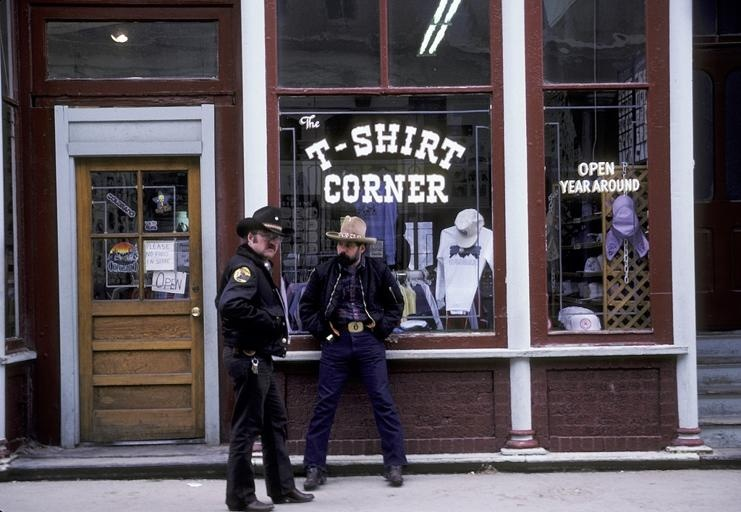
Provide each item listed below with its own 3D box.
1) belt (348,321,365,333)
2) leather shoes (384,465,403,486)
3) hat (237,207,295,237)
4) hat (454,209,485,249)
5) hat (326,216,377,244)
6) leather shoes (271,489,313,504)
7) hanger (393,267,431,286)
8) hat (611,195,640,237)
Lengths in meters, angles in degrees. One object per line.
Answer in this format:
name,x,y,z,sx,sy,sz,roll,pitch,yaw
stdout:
belt,-0.150,0.745,12.950,0.164,0.115,0.034,-2,-2,-11
leather shoes,0.234,2.274,12.896,0.205,0.207,0.201,-3,-2,5
hat,-1.023,-0.377,12.482,0.428,0.159,0.356,11,-17,-27
hat,1.055,-0.291,13.556,0.315,0.382,0.143,2,-4,16
hat,-0.161,-0.268,13.115,0.329,0.156,0.407,4,-11,7
leather shoes,-0.773,2.383,12.510,0.435,0.170,0.150,-3,1,-7
hanger,0.458,0.234,13.581,0.334,0.169,0.186,-1,-5,-4
hat,2.752,-0.424,13.562,0.308,0.425,0.256,-2,7,9
